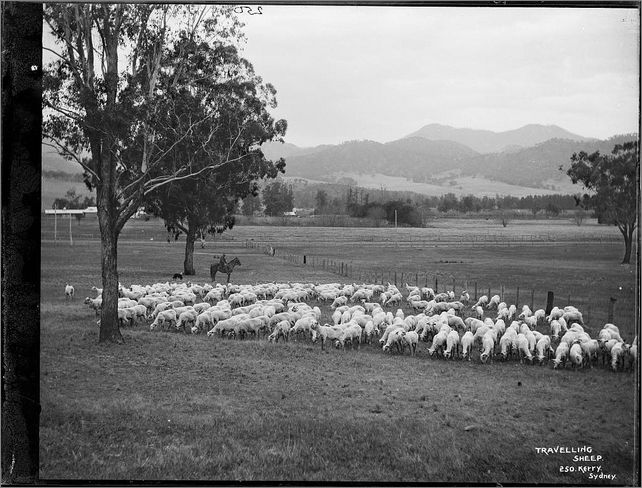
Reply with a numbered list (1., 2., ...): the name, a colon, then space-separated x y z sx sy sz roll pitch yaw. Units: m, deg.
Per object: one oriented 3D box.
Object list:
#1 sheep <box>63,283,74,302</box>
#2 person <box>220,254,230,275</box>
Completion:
1. sheep: -9.931 1.902 27.696 0.295 0.673 0.645 1 8 -17
2. person: -4.983 1.019 36.590 0.536 1.146 1.156 2 7 -8
